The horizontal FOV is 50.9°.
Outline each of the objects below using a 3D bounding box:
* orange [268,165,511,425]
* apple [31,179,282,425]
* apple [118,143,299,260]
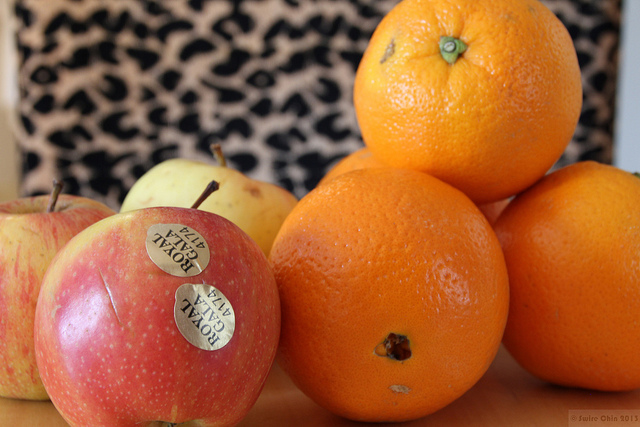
[{"bbox_3d":[0.079,0.111,0.959,0.288,0.290,0.321,-5,73,1],"label":"orange"},{"bbox_3d":[-0.188,0.127,0.883,0.255,0.245,0.324,17,66,-30],"label":"apple"},{"bbox_3d":[-0.174,0.042,1.105,0.193,0.209,0.213,16,82,9],"label":"apple"}]
